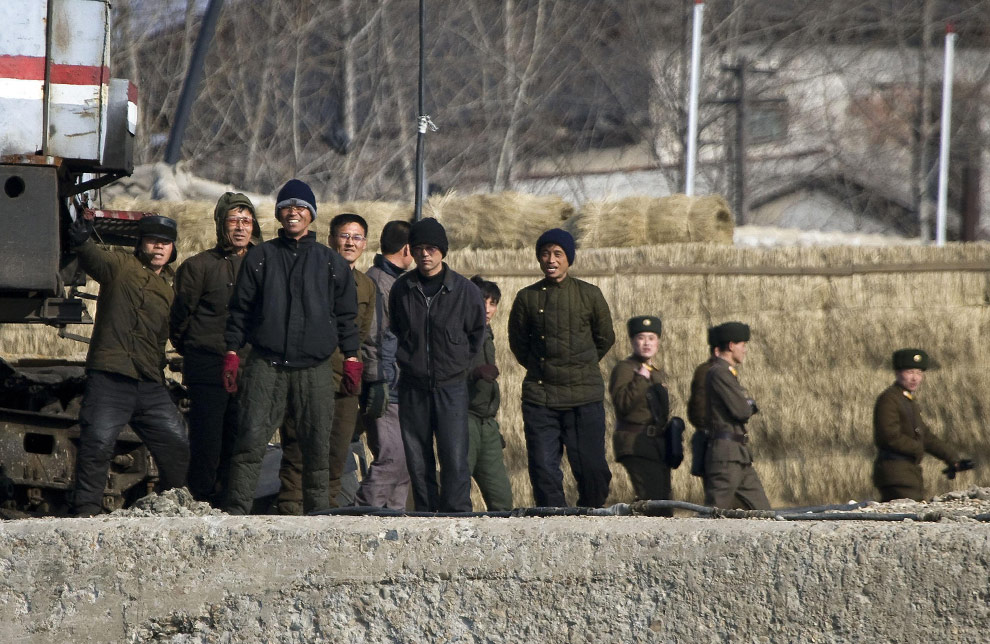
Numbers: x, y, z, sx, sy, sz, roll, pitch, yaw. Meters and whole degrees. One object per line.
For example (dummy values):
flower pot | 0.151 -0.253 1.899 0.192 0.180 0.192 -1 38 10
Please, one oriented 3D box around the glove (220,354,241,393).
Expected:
glove | -3.299 0.606 32.879 0.132 0.429 0.318 2 -10 18

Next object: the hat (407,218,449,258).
hat | -0.835 -1.098 33.627 0.389 0.399 0.513 3 -15 4

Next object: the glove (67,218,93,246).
glove | -5.233 -1.157 33.340 0.167 0.342 0.340 0 2 41

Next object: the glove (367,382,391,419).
glove | -1.527 0.977 33.832 0.280 0.403 0.132 1 -1 21

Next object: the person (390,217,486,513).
person | -0.747 0.512 33.419 1.169 3.696 0.541 -2 2 -2

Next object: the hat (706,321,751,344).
hat | 3.083 0.130 34.312 0.391 0.205 0.305 -3 -5 -36

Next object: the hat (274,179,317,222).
hat | -2.512 -1.558 33.170 0.448 0.437 0.466 6 -6 3

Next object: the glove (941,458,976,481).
glove | 6.084 1.941 34.564 0.384 0.143 0.287 -10 -3 22

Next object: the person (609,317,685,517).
person | 1.978 1.100 34.548 0.955 2.380 0.492 -2 2 5

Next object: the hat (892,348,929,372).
hat | 5.447 0.480 34.759 0.322 0.186 0.356 3 -3 -9

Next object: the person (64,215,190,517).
person | -4.688 0.502 33.531 1.507 3.734 0.740 -3 2 -17

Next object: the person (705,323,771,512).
person | 3.063 1.186 34.130 0.746 2.394 0.641 -2 2 4

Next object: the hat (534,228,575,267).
hat | 0.806 -0.977 34.081 0.391 0.400 0.513 9 2 10

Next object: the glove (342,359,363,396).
glove | -1.812 0.656 33.199 0.300 0.394 0.152 0 1 -14
